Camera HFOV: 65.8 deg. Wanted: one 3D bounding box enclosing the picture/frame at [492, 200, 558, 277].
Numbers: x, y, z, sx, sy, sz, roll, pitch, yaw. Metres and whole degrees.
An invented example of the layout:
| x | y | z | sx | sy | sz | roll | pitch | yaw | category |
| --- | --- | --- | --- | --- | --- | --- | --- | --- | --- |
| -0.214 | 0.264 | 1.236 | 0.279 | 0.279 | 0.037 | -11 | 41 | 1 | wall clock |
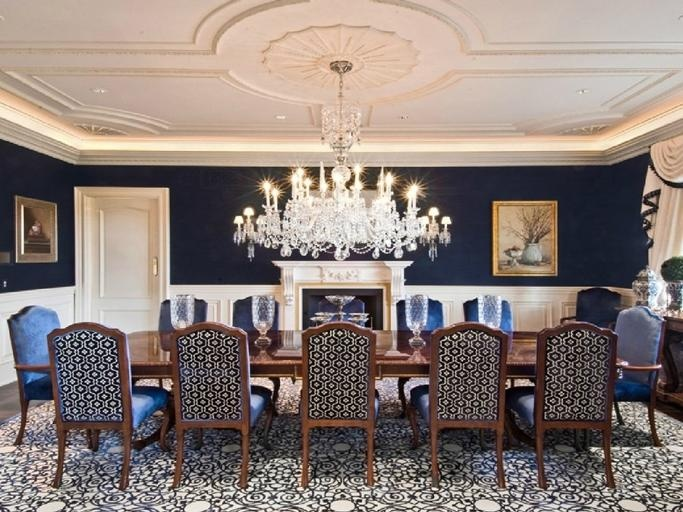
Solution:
| x | y | z | sx | sy | sz | roll | pitch | yaw | category |
| --- | --- | --- | --- | --- | --- | --- | --- | --- | --- |
| 2.820 | -0.277 | 8.028 | 1.534 | 1.350 | 0.102 | -1 | 0 | 0 | picture/frame |

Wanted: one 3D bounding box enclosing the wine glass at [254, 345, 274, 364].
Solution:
| x | y | z | sx | sy | sz | roll | pitch | yaw | category |
| --- | --- | --- | --- | --- | --- | --- | --- | --- | --- |
| -0.702 | 0.904 | 4.769 | 0.106 | 0.091 | 0.101 | -1 | -2 | 31 | wine glass |
